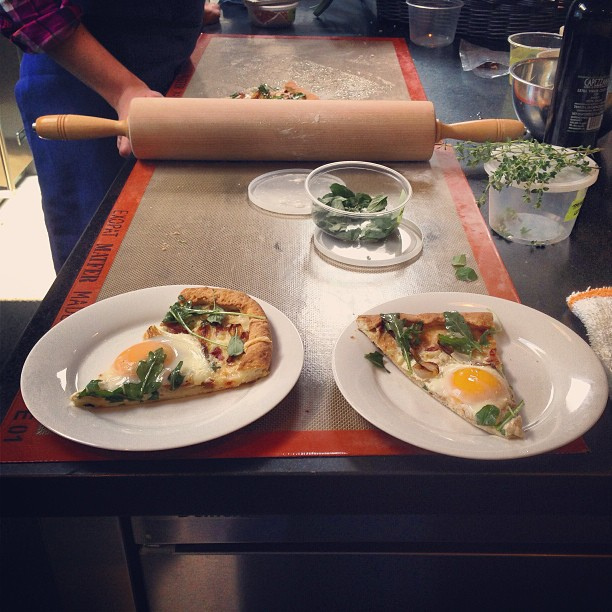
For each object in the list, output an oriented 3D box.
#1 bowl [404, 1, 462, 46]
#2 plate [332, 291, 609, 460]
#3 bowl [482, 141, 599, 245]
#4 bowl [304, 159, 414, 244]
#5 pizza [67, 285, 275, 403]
[{"bbox_3d":[0.451,-1.011,2.042,0.215,0.107,0.176,-2,34,-5],"label":"bowl"},{"bbox_3d":[0.205,0.077,0.733,0.336,0.042,0.298,-2,39,1],"label":"plate"},{"bbox_3d":[0.420,-0.217,1.047,0.194,0.175,0.190,-2,42,2],"label":"bowl"},{"bbox_3d":[0.095,-0.218,1.105,0.236,0.073,0.193,-7,41,-11],"label":"bowl"},{"bbox_3d":[-0.153,0.054,0.757,0.208,0.033,0.138,-22,43,-35],"label":"pizza"}]
